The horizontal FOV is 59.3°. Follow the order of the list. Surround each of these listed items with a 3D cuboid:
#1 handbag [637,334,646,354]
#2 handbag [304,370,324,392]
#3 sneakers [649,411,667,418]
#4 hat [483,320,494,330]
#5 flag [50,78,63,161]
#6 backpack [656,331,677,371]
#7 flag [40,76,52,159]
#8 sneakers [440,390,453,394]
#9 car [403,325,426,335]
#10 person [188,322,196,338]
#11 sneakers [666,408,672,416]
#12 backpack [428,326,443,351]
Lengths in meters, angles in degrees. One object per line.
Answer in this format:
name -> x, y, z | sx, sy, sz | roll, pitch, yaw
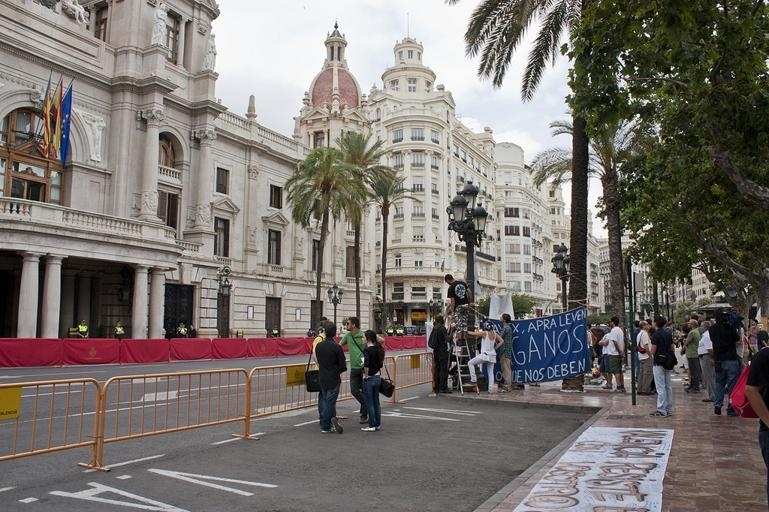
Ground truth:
handbag -> 8.198, 2.751, 21.574 | 0.243, 0.636, 0.919 | -4, -9, 18
handbag -> -1.924, 3.334, 18.048 | 0.339, 0.562, 0.826 | 7, -12, -43
sneakers -> 7.757, 4.500, 19.202 | 0.434, 0.193, 0.156 | -5, -9, 45
hat -> 3.493, 2.328, 22.688 | 0.326, 0.326, 0.244 | -5, 4, -15
flag -> -17.741, -7.810, 36.506 | 0.526, 4.247, 2.564 | 3, -9, -27
backpack -> 8.106, 2.704, 19.582 | 0.484, 1.202, 0.692 | -8, -11, 38
flag -> -18.322, -7.690, 36.599 | 0.553, 4.038, 2.674 | 3, -9, -27
sneakers -> 2.165, 4.721, 23.528 | 0.318, 0.141, 0.137 | 0, -6, -8
car -> 3.190, 7.962, 73.529 | 2.149, 1.198, 5.837 | -1, -9, -1
person -> -12.121, 4.617, 42.536 | 0.469, 1.023, 1.692 | 1, -9, -16
sneakers -> 8.090, 4.457, 19.207 | 0.104, 0.135, 0.310 | -4, -6, 41
backpack -> 1.665, 2.755, 22.882 | 0.372, 0.797, 0.667 | 2, -9, -21
